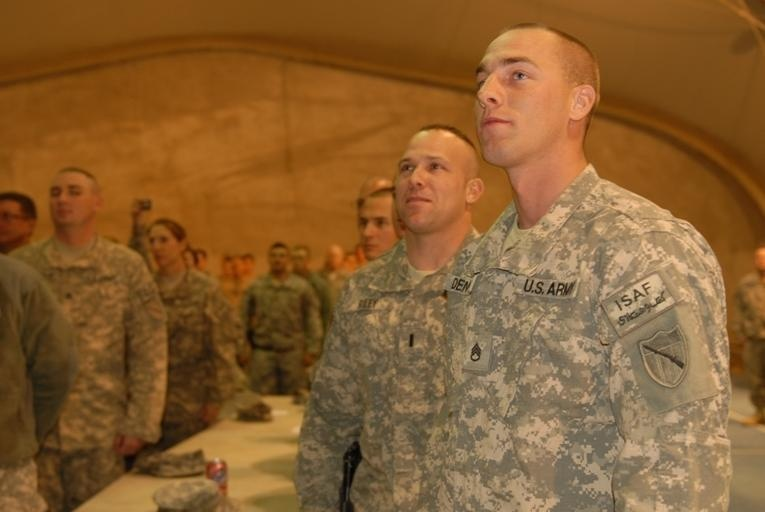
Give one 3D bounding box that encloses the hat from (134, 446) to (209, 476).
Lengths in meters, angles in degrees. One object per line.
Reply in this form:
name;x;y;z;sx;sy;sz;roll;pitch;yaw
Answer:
hat;-1.460;1.402;6.428;0.331;0.108;0.217;1;-4;-17
